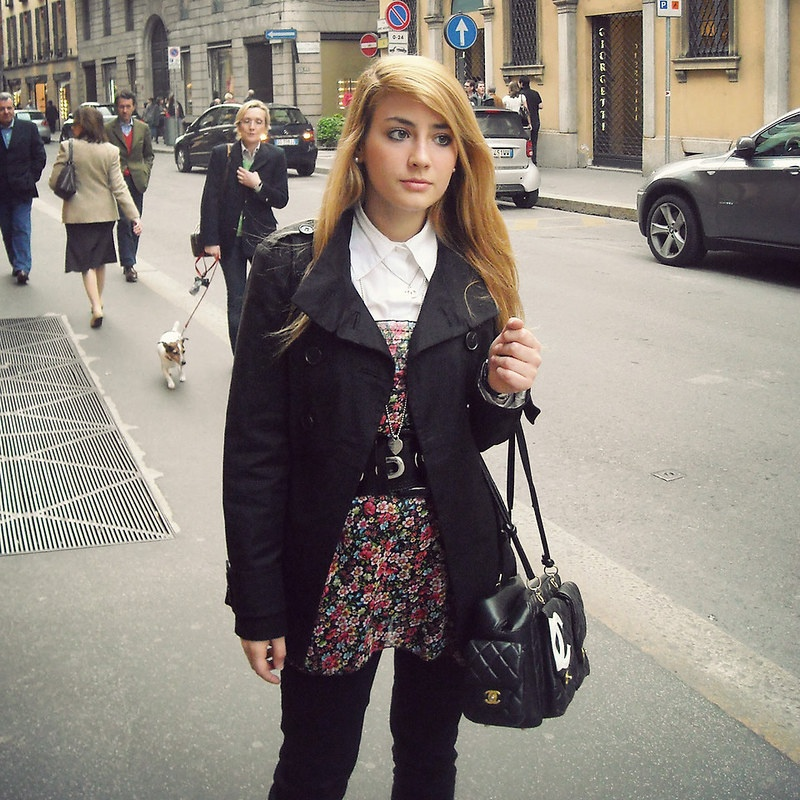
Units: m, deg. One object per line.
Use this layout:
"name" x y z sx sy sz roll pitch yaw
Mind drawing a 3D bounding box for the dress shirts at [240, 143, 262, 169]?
"dress shirts" -1.304 -2.099 6.617 0.127 0.249 0.108 2 -3 -1

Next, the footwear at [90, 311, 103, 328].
"footwear" -3.115 -0.813 7.880 0.085 0.089 0.194 0 8 -7

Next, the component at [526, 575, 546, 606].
"component" 0.239 0.334 1.344 0.022 0.010 0.047 12 44 -25

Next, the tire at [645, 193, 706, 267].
"tire" 3.691 -2.265 10.139 0.223 0.836 0.690 -2 17 -30

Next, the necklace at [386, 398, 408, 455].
"necklace" -0.003 0.043 1.182 0.028 0.080 0.023 -1 10 -4

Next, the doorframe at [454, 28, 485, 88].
"doorframe" 2.401 -11.837 26.314 1.109 1.884 0.051 10 48 19

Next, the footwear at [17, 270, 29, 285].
"footwear" -4.770 -1.503 9.683 0.076 0.261 0.114 -3 47 -14

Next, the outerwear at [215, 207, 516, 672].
"outerwear" -0.040 0.078 1.238 0.390 0.748 0.397 6 -6 -14

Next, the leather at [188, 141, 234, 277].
"leather" -1.553 -1.656 6.525 0.422 1.020 0.247 -3 0 -20
